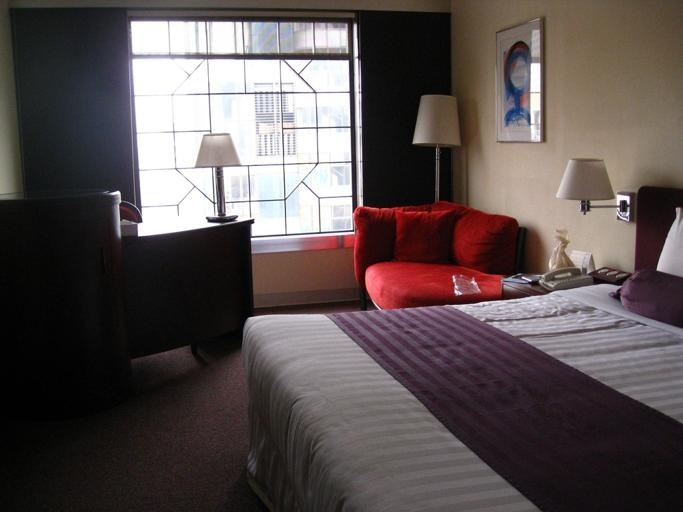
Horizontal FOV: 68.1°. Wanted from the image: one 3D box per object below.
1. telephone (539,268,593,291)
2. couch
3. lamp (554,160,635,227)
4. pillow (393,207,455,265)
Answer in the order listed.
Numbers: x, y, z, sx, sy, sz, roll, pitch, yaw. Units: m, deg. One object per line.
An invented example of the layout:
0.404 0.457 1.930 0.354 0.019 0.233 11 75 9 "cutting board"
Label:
1.426 0.119 3.193 0.265 0.118 0.156 -5 7 -24 "telephone"
0.726 0.107 4.217 1.081 0.983 1.427 -8 12 -34 "couch"
1.592 -0.388 3.207 0.442 0.384 0.288 0 6 7 "lamp"
0.718 -0.148 4.405 0.442 0.421 0.164 3 -4 10 "pillow"
